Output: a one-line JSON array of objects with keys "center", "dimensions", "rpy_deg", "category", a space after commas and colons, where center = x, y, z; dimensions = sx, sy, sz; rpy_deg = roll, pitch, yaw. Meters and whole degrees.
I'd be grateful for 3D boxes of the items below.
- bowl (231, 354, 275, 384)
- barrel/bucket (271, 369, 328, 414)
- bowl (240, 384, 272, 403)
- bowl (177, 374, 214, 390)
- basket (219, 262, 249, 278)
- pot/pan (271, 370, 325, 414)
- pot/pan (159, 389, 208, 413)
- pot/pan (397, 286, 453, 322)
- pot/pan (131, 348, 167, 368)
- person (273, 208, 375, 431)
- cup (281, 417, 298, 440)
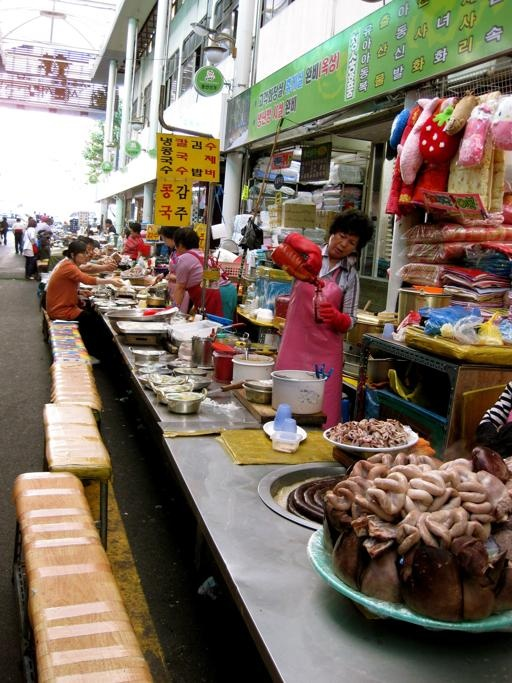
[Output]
[{"center": [-0.012, 0.133, 2.770], "dimensions": [0.178, 0.102, 0.170], "rpy_deg": [1, 6, 0], "category": "bowl"}, {"center": [0.177, 0.221, 2.271], "dimensions": [0.222, 0.181, 0.183], "rpy_deg": [1, 14, -16], "category": "barrel/bucket"}, {"center": [0.007, 0.226, 2.428], "dimensions": [0.106, 0.038, 0.092], "rpy_deg": [13, 13, 11], "category": "bowl"}, {"center": [-0.302, 0.205, 2.688], "dimensions": [0.103, 0.027, 0.101], "rpy_deg": [4, 9, -1], "category": "bowl"}, {"center": [-0.303, -0.932, 6.754], "dimensions": [0.359, 0.135, 0.220], "rpy_deg": [1, 7, -1], "category": "basket"}, {"center": [0.176, 0.218, 2.231], "dimensions": [0.205, 0.114, 0.194], "rpy_deg": [1, 8, -6], "category": "pot/pan"}, {"center": [-0.324, 0.265, 2.318], "dimensions": [0.145, 0.059, 0.097], "rpy_deg": [1, 6, -7], "category": "pot/pan"}, {"center": [1.063, -0.219, 3.122], "dimensions": [0.261, 0.209, 0.299], "rpy_deg": [-6, 13, -25], "category": "pot/pan"}, {"center": [-0.675, 0.103, 3.306], "dimensions": [0.131, 0.069, 0.200], "rpy_deg": [0, 4, -37], "category": "pot/pan"}, {"center": [0.332, -0.025, 3.164], "dimensions": [0.585, 1.474, 0.570], "rpy_deg": [7, 10, -7], "category": "person"}, {"center": [0.121, 0.310, 1.879], "dimensions": [0.059, 0.055, 0.062], "rpy_deg": [3, -4, 0], "category": "cup"}]
